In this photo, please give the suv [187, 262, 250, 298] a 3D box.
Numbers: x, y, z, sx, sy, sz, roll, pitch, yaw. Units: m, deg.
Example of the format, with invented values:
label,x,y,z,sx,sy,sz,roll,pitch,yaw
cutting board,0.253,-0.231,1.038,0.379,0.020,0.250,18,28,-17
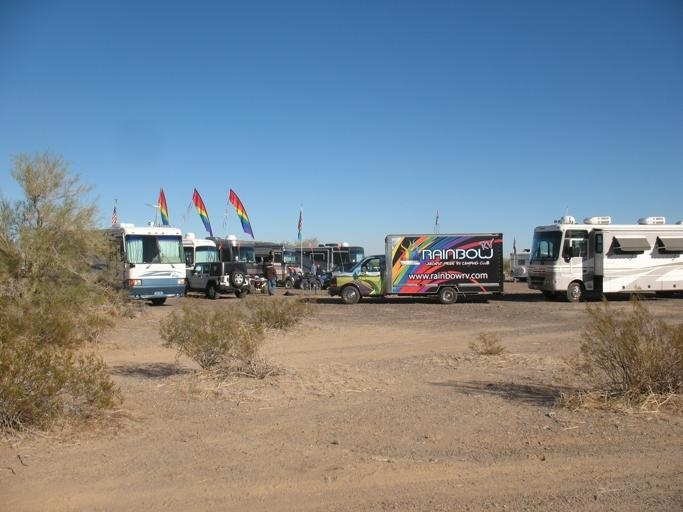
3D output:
label,x,y,z,sx,sy,sz,roll,pitch,yaw
suv,-5.918,1.052,31.516,2.874,1.345,1.699,7,5,45
